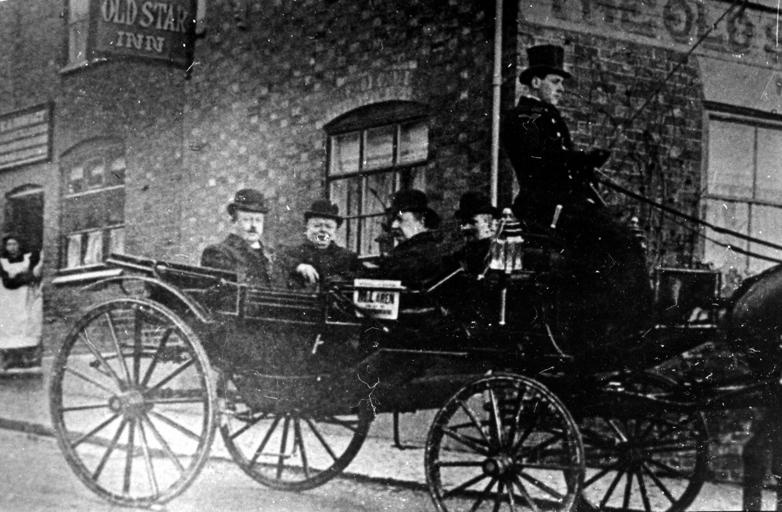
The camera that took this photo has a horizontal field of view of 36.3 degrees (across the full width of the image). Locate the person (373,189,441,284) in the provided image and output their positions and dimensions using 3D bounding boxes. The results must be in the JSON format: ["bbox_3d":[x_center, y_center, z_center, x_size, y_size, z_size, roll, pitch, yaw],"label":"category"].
[{"bbox_3d":[0.114,-0.140,9.489,0.440,0.675,0.616,23,-29,-36],"label":"person"}]

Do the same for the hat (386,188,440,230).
[{"bbox_3d":[0.184,-0.401,9.684,0.417,0.177,0.309,13,-11,-10],"label":"hat"}]

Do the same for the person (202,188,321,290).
[{"bbox_3d":[-1.019,-0.130,9.754,0.642,0.809,0.746,-31,-25,37],"label":"person"}]

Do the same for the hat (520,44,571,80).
[{"bbox_3d":[1.211,-1.530,9.354,0.388,0.161,0.277,2,-2,-2],"label":"hat"}]
